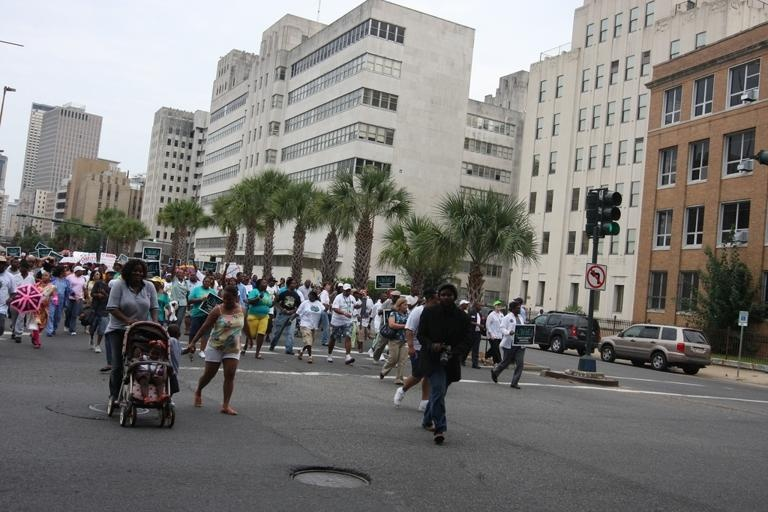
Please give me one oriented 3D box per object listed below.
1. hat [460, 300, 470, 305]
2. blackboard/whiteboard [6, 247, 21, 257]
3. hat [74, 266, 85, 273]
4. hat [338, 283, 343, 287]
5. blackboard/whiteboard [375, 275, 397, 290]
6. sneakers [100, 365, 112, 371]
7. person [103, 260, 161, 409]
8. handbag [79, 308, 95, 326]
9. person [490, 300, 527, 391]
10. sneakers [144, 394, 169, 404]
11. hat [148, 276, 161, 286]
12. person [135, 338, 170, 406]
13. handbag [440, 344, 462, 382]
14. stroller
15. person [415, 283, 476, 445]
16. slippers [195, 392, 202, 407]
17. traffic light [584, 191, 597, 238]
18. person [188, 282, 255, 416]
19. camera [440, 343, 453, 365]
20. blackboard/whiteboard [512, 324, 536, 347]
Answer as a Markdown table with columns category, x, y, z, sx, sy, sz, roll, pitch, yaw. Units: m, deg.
| category | x | y | z | sx | sy | sz | roll | pitch | yaw |
| --- | --- | --- | --- | --- | --- | --- | --- | --- | --- |
| hat | 3.043 | 1.792 | 21.207 | 0.304 | 0.189 | 0.490 | 1 | -7 | -28 |
| blackboard/whiteboard | -20.782 | -0.208 | 31.178 | 0.683 | 0.653 | 0.382 | 0 | -3 | -7 |
| hat | -11.518 | 0.498 | 20.889 | 0.346 | 0.184 | 0.276 | 1 | -3 | 3 |
| hat | -1.580 | 1.035 | 20.096 | 0.206 | 0.162 | 0.297 | 1 | -8 | -19 |
| blackboard/whiteboard | 0.079 | 1.358 | 28.380 | 1.098 | 0.829 | 0.115 | -1 | 2 | -15 |
| sneakers | -6.496 | 2.634 | 12.957 | 0.150 | 0.174 | 0.412 | -2 | -3 | -42 |
| person | -4.238 | 1.301 | 9.451 | 0.966 | 2.531 | 0.841 | 1 | -2 | 30 |
| handbag | -8.553 | 1.749 | 16.137 | 0.438 | 0.592 | 0.248 | 4 | 2 | 32 |
| person | 3.863 | 2.655 | 17.144 | 0.855 | 2.645 | 1.492 | 3 | -5 | 12 |
| sneakers | -3.482 | 2.187 | 8.473 | 0.384 | 0.163 | 0.103 | 6 | -6 | -20 |
| hat | -7.250 | 0.787 | 17.579 | 0.468 | 0.163 | 0.480 | 6 | -4 | -20 |
| person | -3.593 | 1.802 | 8.618 | 0.536 | 0.939 | 0.443 | 6 | -6 | -25 |
| handbag | 1.130 | 1.794 | 9.297 | 0.324 | 0.618 | 0.232 | -1 | -7 | -4 |
| stroller | -3.676 | 1.751 | 8.711 | 0.887 | 1.403 | 1.374 | 5 | -2 | -36 |
| person | 1.017 | 1.741 | 9.287 | 0.725 | 2.513 | 0.737 | 7 | -6 | -33 |
| slippers | -3.359 | 2.613 | 10.041 | 0.141 | 0.211 | 0.474 | 4 | -14 | -17 |
| traffic light | 7.258 | -1.522 | 19.408 | 0.372 | 1.758 | 0.630 | 2 | -5 | 18 |
| person | -2.930 | 1.616 | 9.866 | 0.834 | 2.226 | 0.858 | 5 | -5 | -14 |
| camera | 1.038 | 1.634 | 9.156 | 0.099 | 0.248 | 0.227 | -4 | -16 | 35 |
| blackboard/whiteboard | 4.299 | 2.422 | 17.017 | 0.312 | 0.658 | 1.060 | 0 | -7 | 39 |
